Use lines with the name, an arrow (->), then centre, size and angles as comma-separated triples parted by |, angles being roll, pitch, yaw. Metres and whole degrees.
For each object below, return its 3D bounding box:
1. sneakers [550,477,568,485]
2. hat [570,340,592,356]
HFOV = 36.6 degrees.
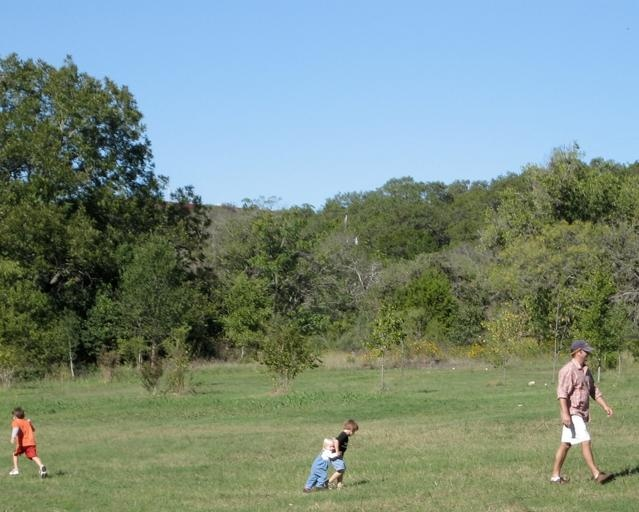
sneakers -> 8.122, 7.550, 32.734 | 0.604, 0.317, 0.242 | 1, 4, -9
hat -> 8.930, 3.048, 32.844 | 0.690, 0.480, 1.280 | -2, 3, 15
